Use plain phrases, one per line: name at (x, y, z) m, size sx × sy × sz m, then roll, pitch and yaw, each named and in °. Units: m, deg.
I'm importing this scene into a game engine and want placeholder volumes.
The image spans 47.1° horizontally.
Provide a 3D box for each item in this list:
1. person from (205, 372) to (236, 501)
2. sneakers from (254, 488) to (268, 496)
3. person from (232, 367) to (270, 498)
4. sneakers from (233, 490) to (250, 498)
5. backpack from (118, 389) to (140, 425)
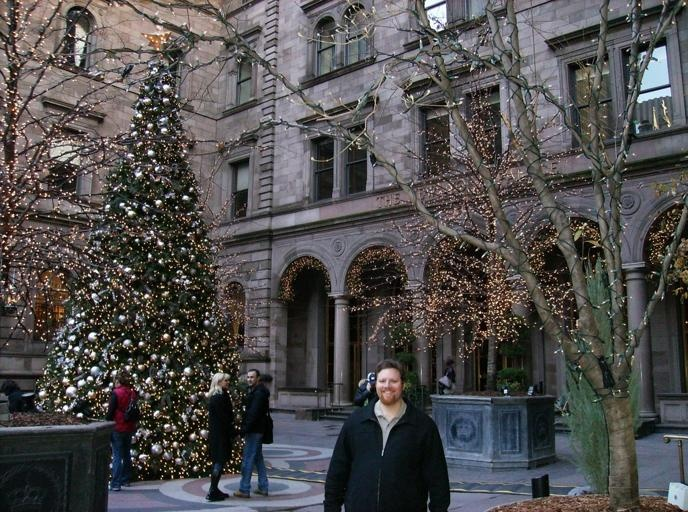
person at (-2.151, 3.184, 13.824) m, size 0.462 × 2.206 × 0.437 m, roll 2°, pitch -12°, yaw -11°
sneakers at (-1.465, 4.228, 14.028) m, size 0.259 × 0.115 × 0.097 m, roll 3°, pitch -7°, yaw 41°
person at (-1.606, 3.217, 14.198) m, size 0.605 × 2.223 × 0.914 m, roll 0°, pitch -12°, yaw -6°
sneakers at (-1.784, 4.208, 13.841) m, size 0.261 × 0.116 × 0.114 m, roll 2°, pitch -9°, yaw 39°
backpack at (-3.821, 2.759, 14.314) m, size 0.248 × 0.585 × 0.339 m, roll -3°, pitch -13°, yaw 10°
